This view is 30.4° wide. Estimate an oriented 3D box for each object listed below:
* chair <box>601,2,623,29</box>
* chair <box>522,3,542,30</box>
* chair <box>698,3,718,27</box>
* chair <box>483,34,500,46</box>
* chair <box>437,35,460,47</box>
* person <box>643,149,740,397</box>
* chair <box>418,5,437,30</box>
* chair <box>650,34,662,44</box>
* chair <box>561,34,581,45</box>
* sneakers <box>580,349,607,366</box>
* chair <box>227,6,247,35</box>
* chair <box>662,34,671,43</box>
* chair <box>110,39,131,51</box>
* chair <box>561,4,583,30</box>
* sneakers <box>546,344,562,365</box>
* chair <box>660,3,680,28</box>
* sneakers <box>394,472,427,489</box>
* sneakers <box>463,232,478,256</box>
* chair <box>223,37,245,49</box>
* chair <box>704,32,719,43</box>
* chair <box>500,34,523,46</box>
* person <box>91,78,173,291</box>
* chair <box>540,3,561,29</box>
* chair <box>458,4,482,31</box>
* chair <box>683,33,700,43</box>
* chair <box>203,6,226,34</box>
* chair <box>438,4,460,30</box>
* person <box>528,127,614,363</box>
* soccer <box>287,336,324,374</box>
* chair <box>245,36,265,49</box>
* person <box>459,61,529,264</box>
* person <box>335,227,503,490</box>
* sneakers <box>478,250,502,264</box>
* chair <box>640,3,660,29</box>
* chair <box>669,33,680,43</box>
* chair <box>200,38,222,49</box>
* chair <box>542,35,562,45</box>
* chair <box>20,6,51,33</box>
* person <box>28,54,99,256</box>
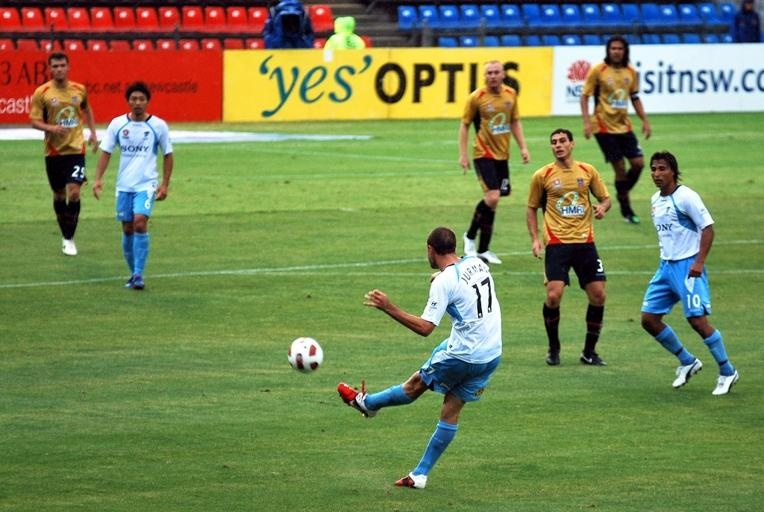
[{"bbox_3d":[8.281,-8.658,50.159,0.770,0.703,0.859,-1,9,5],"label":"chair"},{"bbox_3d":[5.301,-8.452,49.033,0.695,0.722,1.227,-1,9,6],"label":"chair"},{"bbox_3d":[11.677,-8.664,49.952,0.641,0.681,1.633,0,9,10],"label":"chair"},{"bbox_3d":[3.671,-7.053,45.936,0.465,0.347,0.512,-1,9,5],"label":"chair"},{"bbox_3d":[2.117,-6.830,44.649,0.321,0.322,0.596,6,9,43],"label":"chair"},{"bbox_3d":[4.248,0.221,19.443,1.283,3.292,0.761,3,11,29],"label":"person"},{"bbox_3d":[1.630,-8.211,48.009,0.663,0.724,1.134,-2,9,2],"label":"chair"},{"bbox_3d":[9.018,-7.124,46.111,0.424,0.278,0.397,0,0,-1],"label":"chair"},{"bbox_3d":[6.407,-7.240,47.004,0.495,0.274,0.461,2,9,-2],"label":"chair"},{"bbox_3d":[3.042,1.466,20.154,0.402,0.161,0.157,2,9,12],"label":"sneakers"},{"bbox_3d":[-4.692,-7.732,45.655,0.692,0.739,2.034,-3,9,-5],"label":"chair"},{"bbox_3d":[9.491,-7.151,46.187,0.333,0.215,0.306,0,-2,1],"label":"chair"},{"bbox_3d":[-7.814,-6.328,42.019,0.595,0.258,0.502,-3,9,-9],"label":"chair"},{"bbox_3d":[6.717,-8.497,49.356,0.728,0.698,1.017,-1,9,8],"label":"chair"},{"bbox_3d":[2.484,1.424,20.228,0.199,0.256,0.259,-1,9,5],"label":"sneakers"},{"bbox_3d":[10.345,-8.668,50.196,0.694,0.655,1.068,-1,9,8],"label":"chair"},{"bbox_3d":[0.396,2.766,17.364,0.439,0.165,0.153,3,5,15],"label":"sneakers"},{"bbox_3d":[1.549,-0.188,24.780,0.209,0.448,0.160,-19,-12,7],"label":"sneakers"},{"bbox_3d":[-4.483,-6.531,43.058,0.715,0.309,0.667,-4,9,-17],"label":"chair"},{"bbox_3d":[10.825,-7.106,45.865,0.462,0.265,1.967,0,9,13],"label":"chair"},{"bbox_3d":[4.283,-7.041,45.902,0.773,0.478,0.391,1,17,-3],"label":"chair"},{"bbox_3d":[-4.004,-1.169,22.872,1.217,3.299,1.179,-4,10,-8],"label":"person"},{"bbox_3d":[5.980,-8.474,49.231,0.648,0.694,1.113,-1,9,7],"label":"chair"},{"bbox_3d":[3.094,-8.342,48.616,0.698,0.735,0.942,-2,9,1],"label":"chair"},{"bbox_3d":[10.321,-7.225,46.550,0.484,0.220,0.646,3,9,4],"label":"chair"},{"bbox_3d":[-5.376,-7.698,45.462,0.685,0.740,2.353,-3,9,-6],"label":"chair"},{"bbox_3d":[2.375,-8.303,48.461,0.692,0.704,1.010,-1,9,3],"label":"chair"},{"bbox_3d":[2.709,-0.136,20.289,1.126,3.335,0.961,-1,10,5],"label":"person"},{"bbox_3d":[-0.972,1.307,18.586,0.488,0.428,0.457,2,-3,0],"label":"soccer"},{"bbox_3d":[-3.868,-6.530,43.082,0.587,0.350,0.422,0,14,0],"label":"chair"},{"bbox_3d":[1.935,-1.601,24.343,1.201,3.492,0.763,-3,10,-6],"label":"person"},{"bbox_3d":[0.656,1.247,17.387,1.667,3.144,0.796,-2,10,1],"label":"person"},{"bbox_3d":[1.931,0.026,24.509,0.456,0.174,0.184,9,9,6],"label":"sneakers"},{"bbox_3d":[9.687,-8.662,50.170,0.680,0.708,1.010,0,9,10],"label":"chair"},{"bbox_3d":[9.606,-7.144,46.101,0.469,0.263,0.478,0,9,8],"label":"chair"},{"bbox_3d":[-5.155,-6.460,42.611,0.760,0.301,0.483,-6,10,-23],"label":"chair"},{"bbox_3d":[5.694,-7.188,46.722,0.490,0.325,0.806,2,10,23],"label":"chair"},{"bbox_3d":[-11.120,-7.615,44.825,0.732,0.683,1.891,-4,9,-13],"label":"chair"},{"bbox_3d":[-5.416,-1.729,24.085,1.038,3.496,1.076,-4,10,-11],"label":"person"}]
